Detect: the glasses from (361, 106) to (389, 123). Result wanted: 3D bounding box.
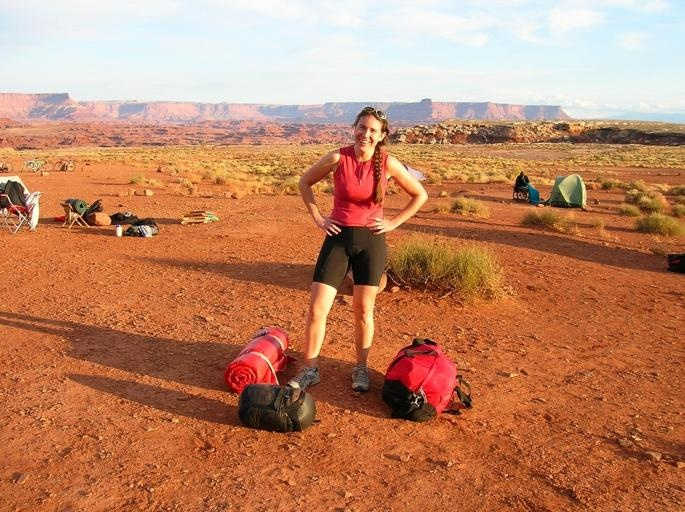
[{"bbox_3d":[0.291,-1.409,4.518,0.228,0.049,0.202,8,-11,-31],"label":"glasses"}]

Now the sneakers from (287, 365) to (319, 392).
[{"bbox_3d":[-0.443,1.320,4.961,0.466,0.169,0.163,-6,41,-38],"label":"sneakers"}]

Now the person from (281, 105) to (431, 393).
[{"bbox_3d":[0.153,0.021,4.818,1.200,3.028,0.736,2,22,-2],"label":"person"}]

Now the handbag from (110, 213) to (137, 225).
[{"bbox_3d":[-6.597,-1.139,13.933,0.799,0.312,0.850,-1,13,-15],"label":"handbag"}]

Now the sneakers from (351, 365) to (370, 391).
[{"bbox_3d":[0.211,1.355,5.126,0.160,0.118,0.359,1,6,-7],"label":"sneakers"}]

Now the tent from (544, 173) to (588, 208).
[{"bbox_3d":[9.653,-2.717,19.575,2.123,1.018,1.386,5,10,24],"label":"tent"}]

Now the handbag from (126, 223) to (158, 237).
[{"bbox_3d":[-5.310,-0.663,12.144,0.765,0.280,0.579,-2,18,-14],"label":"handbag"}]
